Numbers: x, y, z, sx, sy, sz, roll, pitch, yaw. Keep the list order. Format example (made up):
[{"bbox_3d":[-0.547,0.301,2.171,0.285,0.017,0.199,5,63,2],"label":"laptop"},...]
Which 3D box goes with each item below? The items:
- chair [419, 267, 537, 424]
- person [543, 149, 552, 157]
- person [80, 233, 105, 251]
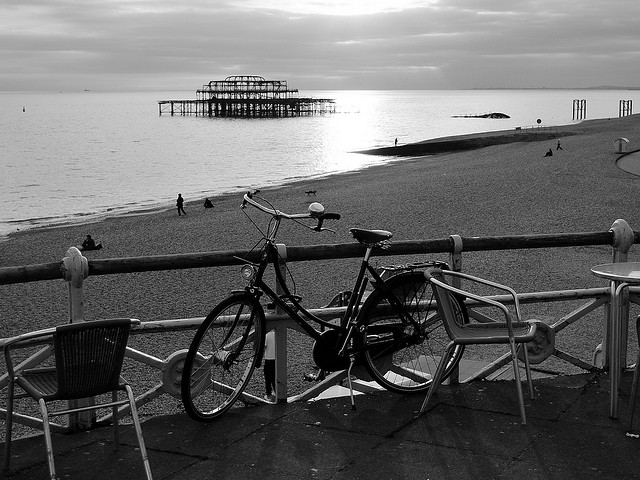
[{"bbox_3d":[1.175,0.720,4.859,0.842,0.938,0.791,-2,2,6],"label":"chair"},{"bbox_3d":[14.755,-5.612,43.597,0.472,0.545,1.166,0,3,18],"label":"person"},{"bbox_3d":[-7.265,0.069,21.530,0.709,0.484,1.623,-2,4,-20],"label":"person"}]
